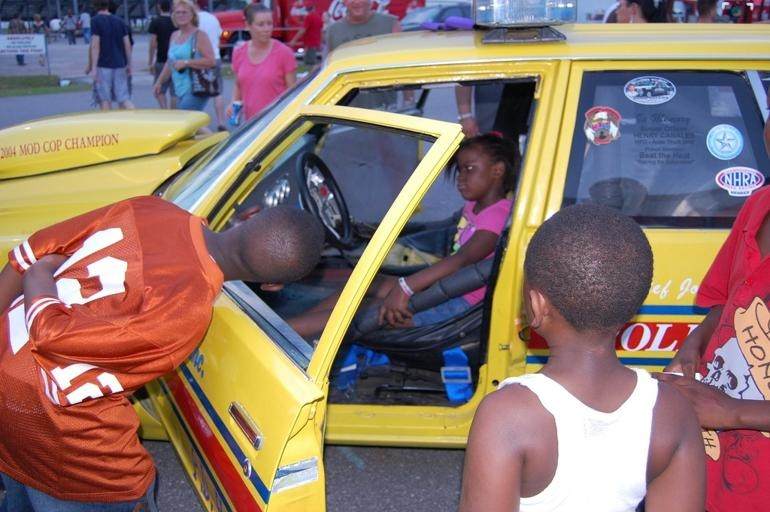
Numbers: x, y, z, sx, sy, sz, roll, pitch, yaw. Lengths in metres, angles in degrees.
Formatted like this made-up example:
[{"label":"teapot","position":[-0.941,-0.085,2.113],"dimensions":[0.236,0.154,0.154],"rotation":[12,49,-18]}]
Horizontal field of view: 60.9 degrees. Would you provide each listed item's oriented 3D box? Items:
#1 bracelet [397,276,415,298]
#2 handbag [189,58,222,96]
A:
[{"label":"bracelet","position":[0.110,0.174,3.650],"dimensions":[0.092,0.025,0.095],"rotation":[39,23,-45]},{"label":"handbag","position":[-2.152,-2.112,7.757],"dimensions":[0.410,0.331,0.238],"rotation":[-12,12,4]}]
